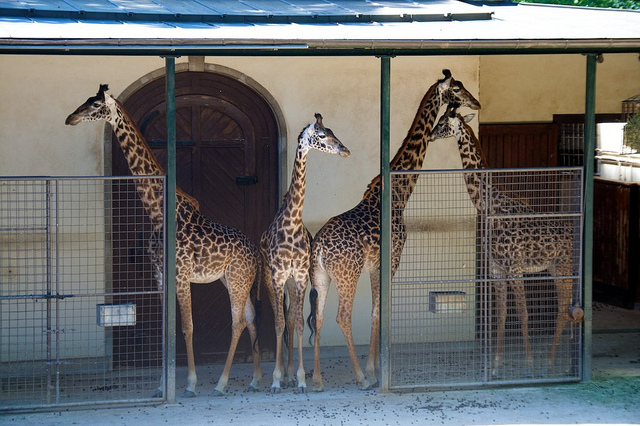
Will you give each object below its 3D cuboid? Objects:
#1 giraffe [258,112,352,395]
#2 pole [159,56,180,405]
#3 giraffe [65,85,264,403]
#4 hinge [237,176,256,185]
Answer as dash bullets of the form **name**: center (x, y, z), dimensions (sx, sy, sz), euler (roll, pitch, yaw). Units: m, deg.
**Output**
- **giraffe**: center (-0.272, 0.474, 12.480), dimensions (0.869, 3.333, 1.590), euler (-1, -4, -12)
- **pole**: center (-1.742, 0.213, 11.878), dimensions (0.165, 3.958, 0.623), euler (-1, -4, -11)
- **giraffe**: center (-1.634, 0.324, 12.423), dimensions (2.060, 3.759, 1.162), euler (0, -5, -20)
- **hinge**: center (-0.940, -0.436, 13.295), dimensions (0.236, 0.103, 0.044), euler (-2, -4, -8)
